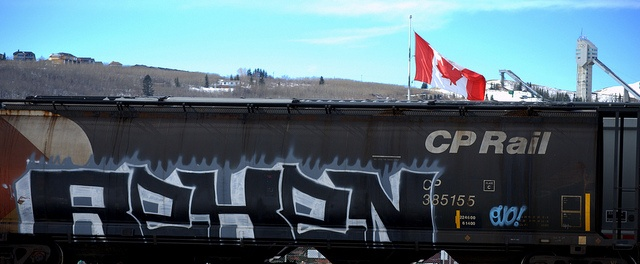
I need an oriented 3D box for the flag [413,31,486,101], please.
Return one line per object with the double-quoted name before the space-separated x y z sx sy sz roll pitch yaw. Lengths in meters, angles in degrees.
"flag" 11.137 -5.708 66.224 7.972 4.767 0.481 8 -16 -32
